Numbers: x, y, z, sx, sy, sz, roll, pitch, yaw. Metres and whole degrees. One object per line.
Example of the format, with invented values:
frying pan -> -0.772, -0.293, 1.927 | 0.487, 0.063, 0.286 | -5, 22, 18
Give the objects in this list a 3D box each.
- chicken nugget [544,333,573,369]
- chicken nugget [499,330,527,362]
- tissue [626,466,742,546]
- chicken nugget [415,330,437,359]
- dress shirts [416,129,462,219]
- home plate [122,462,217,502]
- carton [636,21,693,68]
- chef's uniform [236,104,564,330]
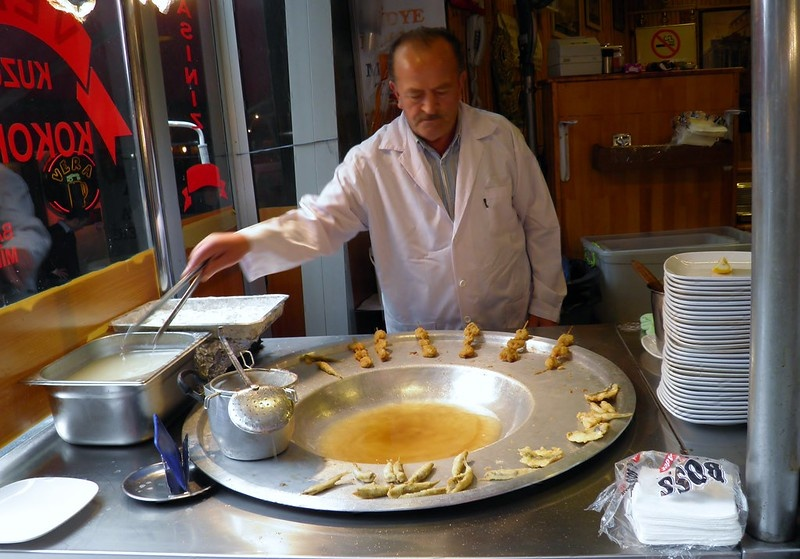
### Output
chicken nugget -> 0.550, 0.253, 1.996 | 0.054, 0.054, 0.179 | 12, 35, 26
chicken nugget -> 0.401, 0.233, 2.042 | 0.071, 0.071, 0.168 | 4, 16, 31
tissue -> 0.608, 0.479, 1.236 | 0.156, 0.073, 0.162 | -2, 18, 6
chicken nugget -> 0.099, 0.228, 2.122 | 0.065, 0.065, 0.167 | -6, 14, -5
dress shirts -> 0.204, -0.487, 2.673 | 0.132, 0.511, 0.089 | -3, -15, -5
home plate -> -0.608, 0.532, 1.502 | 0.207, 0.024, 0.215 | 6, 4, -2
carton -> 3.094, -2.728, 6.706 | 0.694, 0.431, 0.125 | -3, 13, 6
chef's uniform -> -0.070, -0.310, 2.957 | 1.209, 1.001, 0.411 | -15, 23, -4
